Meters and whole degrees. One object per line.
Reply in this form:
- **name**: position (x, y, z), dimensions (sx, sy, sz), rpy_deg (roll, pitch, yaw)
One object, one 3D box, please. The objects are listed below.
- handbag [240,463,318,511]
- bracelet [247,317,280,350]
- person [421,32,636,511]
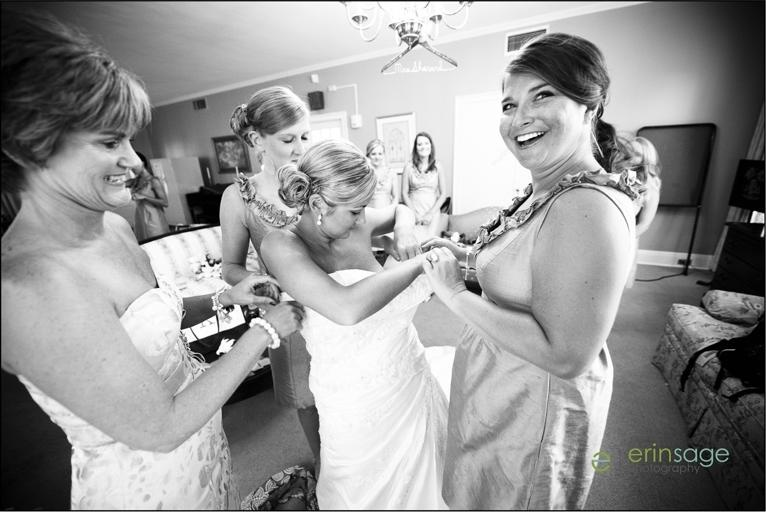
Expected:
- **handbag**: position (-0.567, 1.344, 2.602), dimensions (0.230, 0.142, 0.305), rpy_deg (4, 30, 33)
- **bracelet**: position (-0.513, 0.338, 2.028), dimensions (0.041, 0.136, 0.119), rpy_deg (-39, -16, -15)
- **person**: position (0.656, 0.166, 2.026), dimensions (0.866, 2.142, 0.611), rpy_deg (1, 18, 15)
